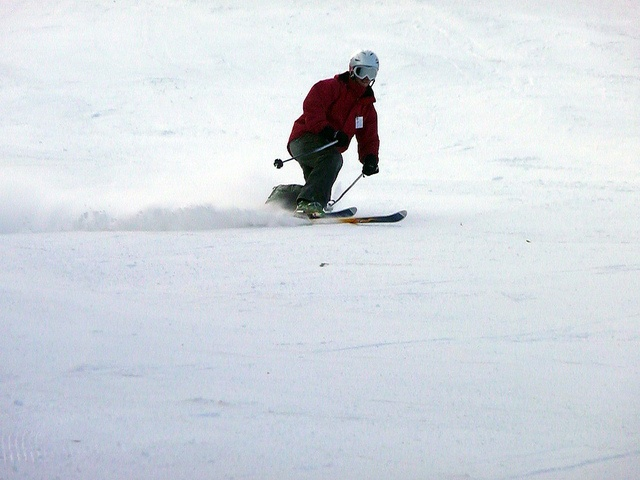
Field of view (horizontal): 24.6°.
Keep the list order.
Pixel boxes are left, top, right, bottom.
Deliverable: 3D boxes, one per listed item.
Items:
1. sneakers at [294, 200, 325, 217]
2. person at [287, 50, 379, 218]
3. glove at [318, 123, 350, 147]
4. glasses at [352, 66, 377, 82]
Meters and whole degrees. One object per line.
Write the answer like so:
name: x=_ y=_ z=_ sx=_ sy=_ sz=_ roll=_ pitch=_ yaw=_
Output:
sneakers: x=-0.090 y=-0.389 z=19.729 sx=0.390 sy=0.167 sz=0.267 roll=8 pitch=23 yaw=-2
person: x=0.317 y=-1.450 z=19.817 sx=1.265 sy=2.131 sz=1.008 roll=4 pitch=23 yaw=-8
glove: x=0.249 y=-1.393 z=19.954 sx=0.208 sy=0.160 sz=0.633 roll=27 pitch=0 yaw=25
glasses: x=0.666 y=-2.249 z=19.821 sx=0.236 sy=0.153 sz=0.288 roll=2 pitch=7 yaw=-14
